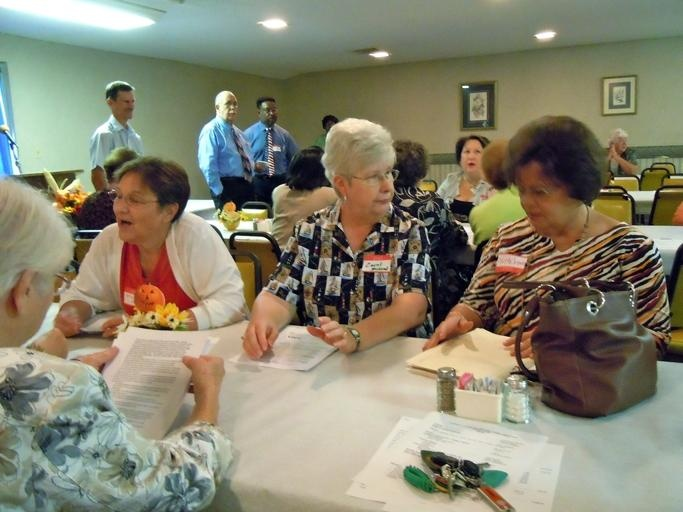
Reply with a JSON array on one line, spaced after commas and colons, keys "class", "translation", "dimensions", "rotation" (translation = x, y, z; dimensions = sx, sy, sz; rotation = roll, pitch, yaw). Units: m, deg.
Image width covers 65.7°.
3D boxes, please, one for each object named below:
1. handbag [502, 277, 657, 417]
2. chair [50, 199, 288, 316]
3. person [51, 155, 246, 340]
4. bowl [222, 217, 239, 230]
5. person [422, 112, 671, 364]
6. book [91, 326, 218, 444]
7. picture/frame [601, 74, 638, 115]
[{"class": "handbag", "translation": [0.668, 0.218, 1.523], "dimensions": [0.343, 0.324, 0.337], "rotation": [-7, 2, -36]}, {"class": "chair", "translation": [-0.725, 0.092, 2.329], "dimensions": [0.672, 0.489, 0.464], "rotation": [1, 8, 11]}, {"class": "person", "translation": [-0.713, 0.004, 2.405], "dimensions": [0.756, 0.917, 0.738], "rotation": [1, 1, 18]}, {"class": "bowl", "translation": [-0.863, -0.253, 4.105], "dimensions": [0.099, 0.077, 0.099], "rotation": [0, 1, 0]}, {"class": "person", "translation": [0.796, -0.056, 2.115], "dimensions": [0.794, 1.004, 0.960], "rotation": [-2, 6, -32]}, {"class": "book", "translation": [-0.572, 0.363, 1.556], "dimensions": [0.224, 0.072, 0.296], "rotation": [11, 38, 14]}, {"class": "picture/frame", "translation": [4.996, -2.915, 9.432], "dimensions": [0.703, 0.831, 0.061], "rotation": [1, 8, 24]}]
